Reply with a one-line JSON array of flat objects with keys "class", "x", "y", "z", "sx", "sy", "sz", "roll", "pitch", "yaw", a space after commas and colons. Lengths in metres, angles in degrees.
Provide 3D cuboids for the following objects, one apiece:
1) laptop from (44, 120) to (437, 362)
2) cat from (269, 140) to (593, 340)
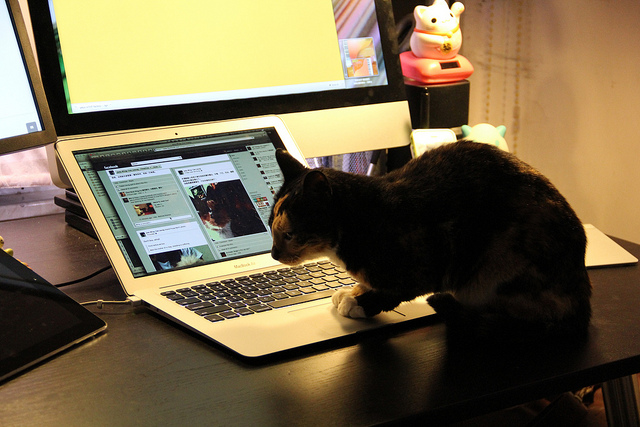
[{"class": "laptop", "x": -0.098, "y": 0.031, "z": 0.858, "sx": 0.532, "sy": 0.176, "sz": 0.456, "roll": 37, "pitch": 38, "yaw": 27}, {"class": "cat", "x": 0.218, "y": 0.044, "z": 0.819, "sx": 0.598, "sy": 0.272, "sz": 0.281, "roll": 1, "pitch": 5, "yaw": 32}]
